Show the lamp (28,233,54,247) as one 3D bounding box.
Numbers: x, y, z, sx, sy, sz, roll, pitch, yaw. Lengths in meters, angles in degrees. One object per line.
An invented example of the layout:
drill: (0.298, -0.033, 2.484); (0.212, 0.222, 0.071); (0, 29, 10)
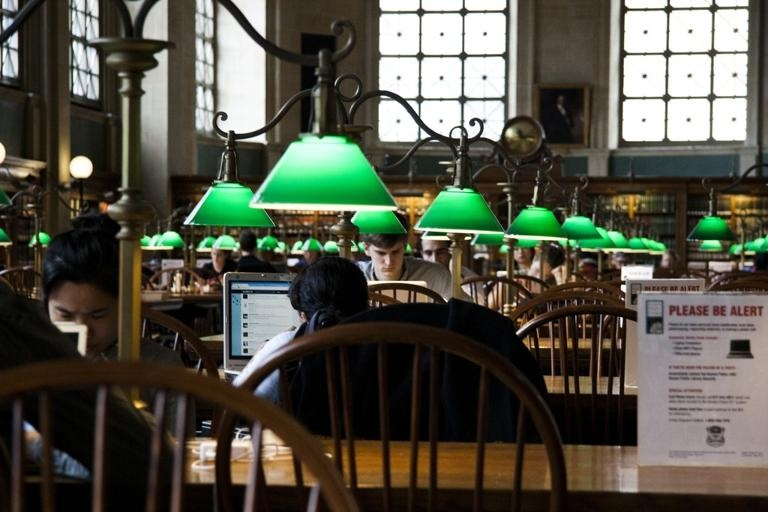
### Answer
lamp: (-3.635, -0.194, 13.136); (0.178, 0.153, 0.180); (2, -1, -13)

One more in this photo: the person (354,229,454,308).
person: (0.155, 0.059, 10.949); (0.760, 1.071, 0.570); (-2, -4, -4)

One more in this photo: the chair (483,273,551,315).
chair: (1.215, 0.288, 11.375); (0.453, 0.576, 0.416); (3, -11, -19)

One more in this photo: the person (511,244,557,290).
person: (1.524, 0.091, 12.583); (0.275, 0.771, 0.265); (-7, -33, -1)

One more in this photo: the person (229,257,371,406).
person: (-0.491, 0.523, 8.465); (1.075, 0.776, 0.873); (-17, -20, 34)

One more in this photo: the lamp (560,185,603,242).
lamp: (1.682, -0.373, 10.826); (0.470, 0.504, 0.479); (1, 7, 4)

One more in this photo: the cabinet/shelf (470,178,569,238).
cabinet/shelf: (1.143, -0.356, 9.730); (0.377, 0.393, 0.365); (2, 1, -23)

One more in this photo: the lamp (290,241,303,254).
lamp: (-1.316, -0.159, 18.543); (0.135, 0.272, 0.151); (-4, 27, -19)

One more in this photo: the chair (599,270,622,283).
chair: (2.541, 0.207, 13.993); (0.133, 0.146, 0.127); (0, -4, 0)

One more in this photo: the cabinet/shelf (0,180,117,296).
cabinet/shelf: (-3.154, -0.206, 11.695); (1.246, 1.351, 1.245); (3, -6, -23)

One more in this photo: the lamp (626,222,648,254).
lamp: (2.737, -0.216, 13.487); (0.345, 0.367, 0.349); (1, -4, 7)

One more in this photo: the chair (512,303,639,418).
chair: (1.441, 0.624, 8.926); (0.878, 0.972, 0.710); (-1, 3, 13)

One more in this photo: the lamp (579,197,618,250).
lamp: (2.055, -0.320, 11.865); (0.470, 0.500, 0.480); (0, -4, 0)

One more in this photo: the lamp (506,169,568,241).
lamp: (1.106, -0.420, 9.819); (0.463, 0.491, 0.473); (6, -3, -25)

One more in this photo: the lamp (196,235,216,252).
lamp: (-2.146, -0.168, 14.953); (0.205, 0.106, 0.293); (-2, -4, -4)

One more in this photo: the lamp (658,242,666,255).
lamp: (3.503, -0.128, 15.721); (0.152, 0.108, 0.217); (0, -11, 3)

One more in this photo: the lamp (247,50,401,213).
lamp: (-0.402, -0.804, 8.293); (0.959, 0.984, 0.932); (0, -2, -15)

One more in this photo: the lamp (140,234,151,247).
lamp: (-2.374, -0.170, 12.318); (0.109, 0.121, 0.133); (-2, -17, 4)

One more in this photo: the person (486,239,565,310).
person: (1.354, 0.182, 12.153); (0.701, 1.073, 0.763); (-1, -12, 7)

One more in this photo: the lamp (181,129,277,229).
lamp: (-1.113, -0.591, 8.881); (0.684, 0.694, 0.628); (4, 5, 23)

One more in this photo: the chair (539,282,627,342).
chair: (1.643, 0.525, 10.444); (0.589, 0.732, 0.502); (1, 5, 18)

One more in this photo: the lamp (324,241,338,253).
lamp: (-0.749, -0.155, 17.381); (0.154, 0.152, 0.155); (0, 11, -9)

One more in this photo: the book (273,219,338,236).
book: (-1.252, -0.459, 18.874); (0.979, 0.305, 0.240); (1, -3, 2)

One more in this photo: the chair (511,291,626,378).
chair: (1.494, 0.595, 10.082); (0.644, 0.811, 0.581); (-1, 3, 18)

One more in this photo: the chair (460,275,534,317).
chair: (1.027, 0.320, 11.289); (0.446, 0.577, 0.417); (0, -11, -4)

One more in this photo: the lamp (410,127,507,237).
lamp: (0.531, -0.498, 9.017); (0.579, 0.597, 0.555); (1, 1, -36)

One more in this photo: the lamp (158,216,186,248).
lamp: (-2.688, -0.335, 15.634); (0.429, 0.469, 0.440); (-2, 5, -28)

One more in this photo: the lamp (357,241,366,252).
lamp: (-0.255, -0.119, 13.457); (0.085, 0.083, 0.085); (-15, 29, 3)

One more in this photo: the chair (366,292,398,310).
chair: (-0.018, 0.325, 9.734); (0.162, 0.208, 0.149); (3, -8, -22)
